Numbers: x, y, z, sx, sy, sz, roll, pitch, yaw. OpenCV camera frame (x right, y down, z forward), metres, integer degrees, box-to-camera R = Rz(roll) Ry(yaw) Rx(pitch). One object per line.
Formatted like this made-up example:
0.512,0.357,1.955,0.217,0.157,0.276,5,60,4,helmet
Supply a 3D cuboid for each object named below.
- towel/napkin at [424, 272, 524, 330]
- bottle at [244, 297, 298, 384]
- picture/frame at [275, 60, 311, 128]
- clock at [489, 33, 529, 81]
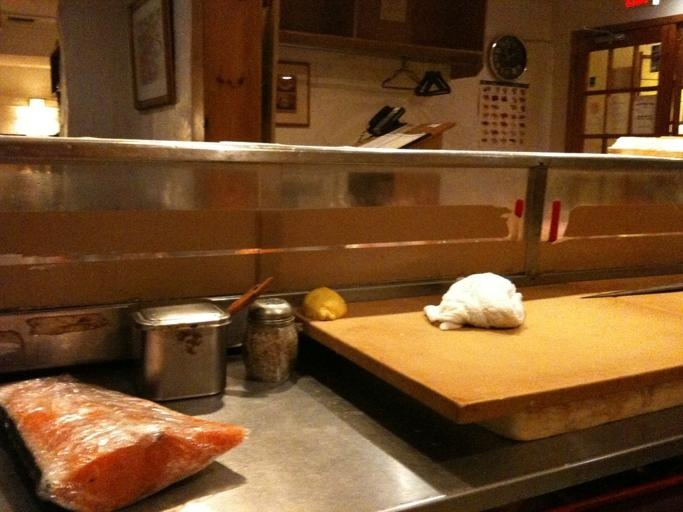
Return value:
0.300,0.091,1.252,0.165,0.052,0.173,-13,10,-42,towel/napkin
-0.152,0.183,1.144,0.101,0.179,0.100,3,14,-1,bottle
-0.342,-1.083,3.496,0.126,0.437,0.324,13,16,33,picture/frame
1.430,-1.735,4.651,0.453,0.391,0.106,-8,12,-32,clock
